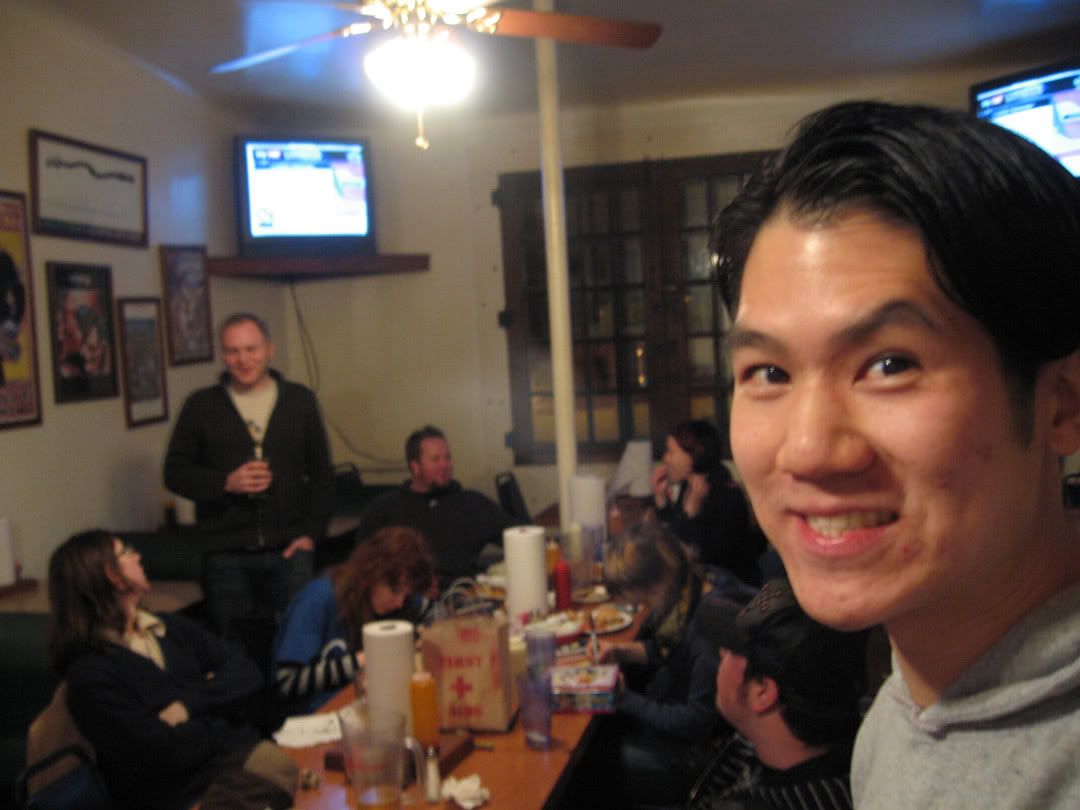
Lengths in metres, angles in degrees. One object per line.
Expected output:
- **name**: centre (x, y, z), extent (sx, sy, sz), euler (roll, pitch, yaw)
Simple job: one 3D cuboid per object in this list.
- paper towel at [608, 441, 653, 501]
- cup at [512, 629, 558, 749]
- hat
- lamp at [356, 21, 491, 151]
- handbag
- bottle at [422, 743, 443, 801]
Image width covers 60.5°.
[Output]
- **paper towel**: centre (0.457, 0.314, 4.665), extent (0.243, 0.343, 0.246), euler (0, -2, 23)
- **cup**: centre (-0.004, 0.604, 2.016), extent (0.081, 0.238, 0.169), euler (-5, 4, 0)
- **hat**: centre (0.596, 0.603, 2.522), extent (0.356, 0.328, 0.622), euler (-4, -12, 3)
- **lamp**: centre (-0.336, -0.844, 2.600), extent (0.224, 0.219, 0.223), euler (-2, 23, -20)
- **handbag**: centre (-0.148, 0.599, 2.128), extent (0.214, 0.224, 0.224), euler (-2, 5, 0)
- **bottle**: centre (-0.211, 0.705, 1.785), extent (0.034, 0.098, 0.068), euler (-6, 4, -9)
